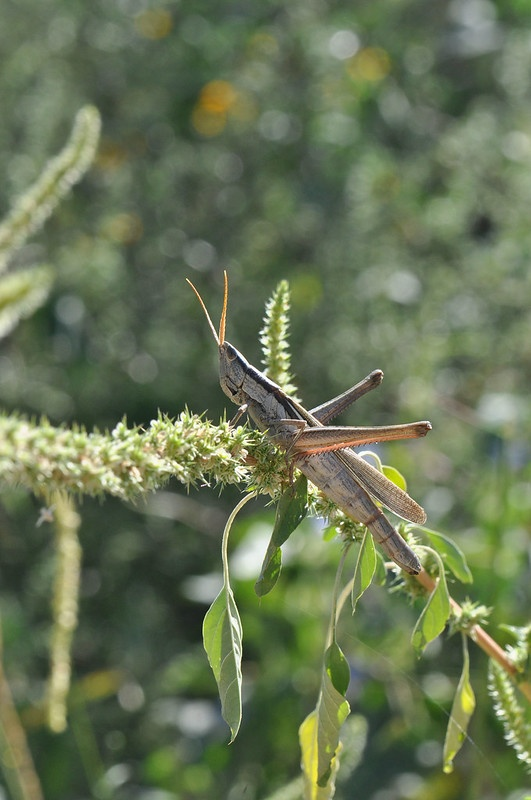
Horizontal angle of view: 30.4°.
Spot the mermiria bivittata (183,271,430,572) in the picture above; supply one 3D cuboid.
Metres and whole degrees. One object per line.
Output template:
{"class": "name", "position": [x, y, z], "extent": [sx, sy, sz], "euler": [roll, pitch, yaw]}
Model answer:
{"class": "mermiria bivittata", "position": [0.133, 0.057, 1.846], "extent": [0.576, 0.203, 0.280], "euler": [32, 67, 20]}
